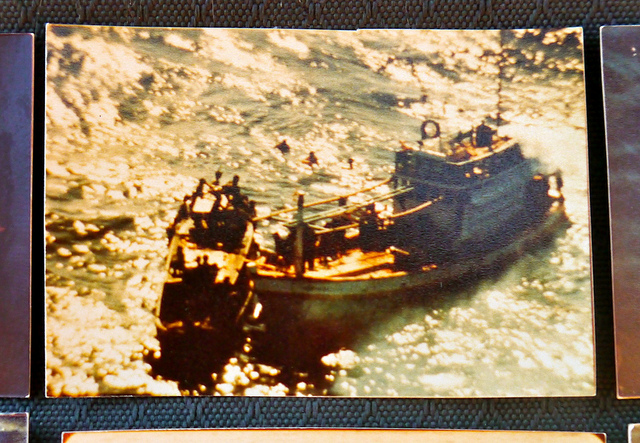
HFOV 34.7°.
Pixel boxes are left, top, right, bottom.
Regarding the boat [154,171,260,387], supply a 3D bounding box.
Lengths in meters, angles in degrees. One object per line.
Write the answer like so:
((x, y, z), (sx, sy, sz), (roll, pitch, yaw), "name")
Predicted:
((-0.206, 0.094, 2.025), (0.202, 0.144, 0.474), (-6, 29, 6), "boat")

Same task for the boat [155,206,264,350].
((-0.215, 0.117, 2.068), (0.207, 0.283, 0.094), (13, -4, 5), "boat")
